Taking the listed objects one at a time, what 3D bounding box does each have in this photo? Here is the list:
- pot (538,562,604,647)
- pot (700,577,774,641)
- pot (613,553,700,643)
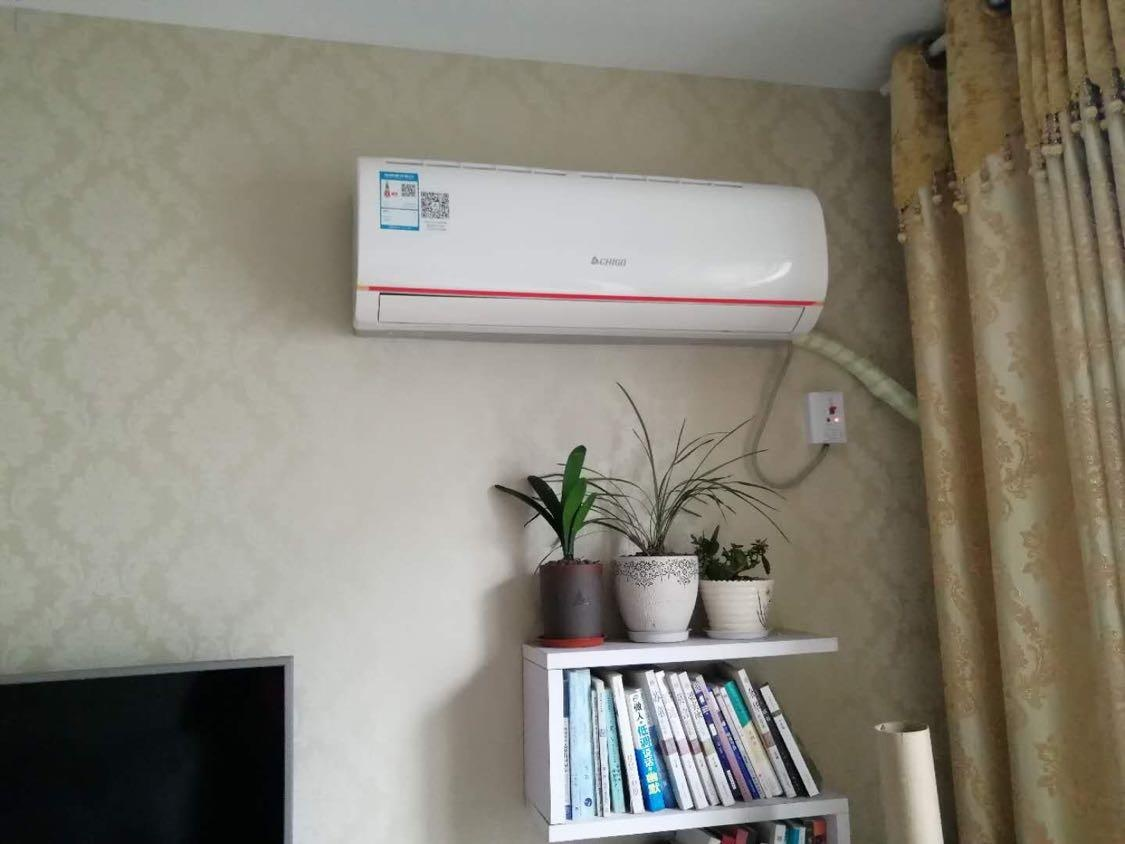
[{"bbox_3d":[0.016,0.408,2.188,0.163,0.198,0.169,1,-9,0],"label":"pot"},{"bbox_3d":[0.424,0.452,2.327,0.179,0.147,0.186,-1,-17,0],"label":"pot"},{"bbox_3d":[0.214,0.405,2.209,0.165,0.170,0.197,2,-17,-4],"label":"pot"}]
